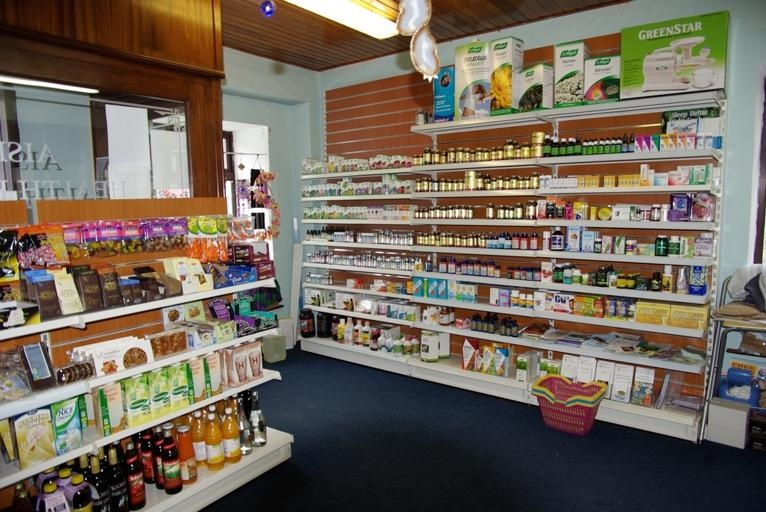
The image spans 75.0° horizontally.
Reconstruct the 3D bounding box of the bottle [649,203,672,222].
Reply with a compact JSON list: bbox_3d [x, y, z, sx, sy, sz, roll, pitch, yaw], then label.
[{"bbox_3d":[2.891,-0.445,5.184,0.192,0.173,0.142,4,2,32],"label":"bottle"}]

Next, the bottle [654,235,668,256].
[{"bbox_3d":[2.922,-0.104,5.218,0.131,0.192,0.087,1,10,26],"label":"bottle"}]

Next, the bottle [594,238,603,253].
[{"bbox_3d":[2.376,-0.113,5.508,0.075,0.144,0.050,0,9,19],"label":"bottle"}]

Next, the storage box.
[{"bbox_3d":[2.258,-2.120,5.725,2.782,0.865,0.818,3,10,34],"label":"storage box"}]

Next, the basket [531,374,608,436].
[{"bbox_3d":[2.057,1.643,5.467,0.746,0.411,0.529,0,11,35],"label":"basket"}]

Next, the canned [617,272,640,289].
[{"bbox_3d":[2.655,0.277,5.381,0.244,0.144,0.133,-2,9,9],"label":"canned"}]
